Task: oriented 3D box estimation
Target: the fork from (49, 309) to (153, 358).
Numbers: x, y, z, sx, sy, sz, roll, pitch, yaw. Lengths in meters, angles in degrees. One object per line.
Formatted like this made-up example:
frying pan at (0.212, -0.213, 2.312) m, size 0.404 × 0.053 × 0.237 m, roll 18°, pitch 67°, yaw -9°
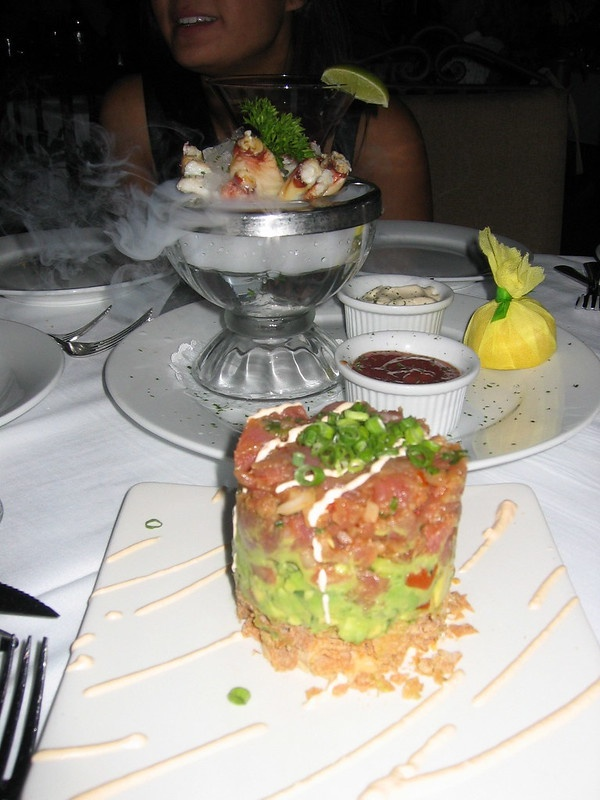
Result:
fork at (-0.478, -0.159, 1.642) m, size 0.046 × 0.048 × 0.338 m, roll 36°, pitch 32°, yaw 14°

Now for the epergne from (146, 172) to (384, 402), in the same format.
epergne at (-0.029, -0.240, 1.491) m, size 0.564 × 0.408 × 0.483 m, roll -2°, pitch 22°, yaw -3°

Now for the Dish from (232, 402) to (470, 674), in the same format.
Dish at (0.055, 0.150, 0.865) m, size 0.317 × 0.278 × 0.293 m, roll 1°, pitch 16°, yaw 0°

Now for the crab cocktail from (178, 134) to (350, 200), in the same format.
crab cocktail at (-0.063, -0.467, 1.348) m, size 0.341 × 0.129 × 0.255 m, roll -2°, pitch 34°, yaw -2°

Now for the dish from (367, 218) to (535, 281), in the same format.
dish at (0.426, -0.500, 2.257) m, size 0.390 × 0.036 × 0.345 m, roll 0°, pitch 31°, yaw -1°

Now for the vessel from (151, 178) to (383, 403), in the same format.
vessel at (-0.069, -0.207, 1.473) m, size 0.539 × 0.377 × 0.497 m, roll -7°, pitch 27°, yaw -12°

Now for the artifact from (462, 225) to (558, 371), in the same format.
artifact at (0.469, -0.216, 1.498) m, size 0.207 × 0.257 × 0.218 m, roll -23°, pitch 31°, yaw -21°

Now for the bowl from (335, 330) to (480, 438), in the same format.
bowl at (0.204, -0.009, 1.278) m, size 0.251 × 0.105 × 0.224 m, roll -5°, pitch 27°, yaw -13°

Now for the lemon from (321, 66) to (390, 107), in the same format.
lemon at (0.134, -0.772, 1.665) m, size 0.142 × 0.097 × 0.194 m, roll -4°, pitch 34°, yaw -5°
